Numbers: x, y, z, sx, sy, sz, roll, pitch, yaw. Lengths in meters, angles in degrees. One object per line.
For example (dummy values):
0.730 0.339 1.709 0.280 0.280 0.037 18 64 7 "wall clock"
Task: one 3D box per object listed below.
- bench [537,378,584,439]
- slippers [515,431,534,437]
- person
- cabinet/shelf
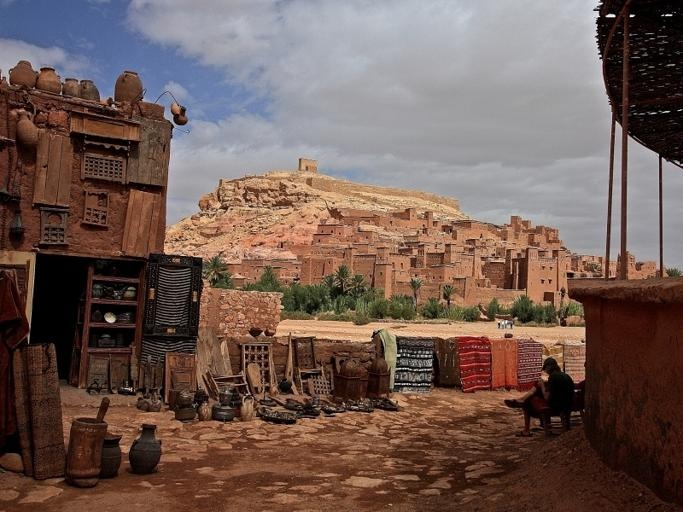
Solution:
3.907 2.749 10.432 0.819 0.903 0.866 10 0 35 "bench"
3.419 3.357 10.523 0.315 0.114 0.161 -5 -2 17 "slippers"
3.654 2.630 10.393 1.265 1.372 0.758 -10 -26 40 "person"
-5.097 1.520 12.634 1.257 2.828 0.747 4 0 -23 "cabinet/shelf"
